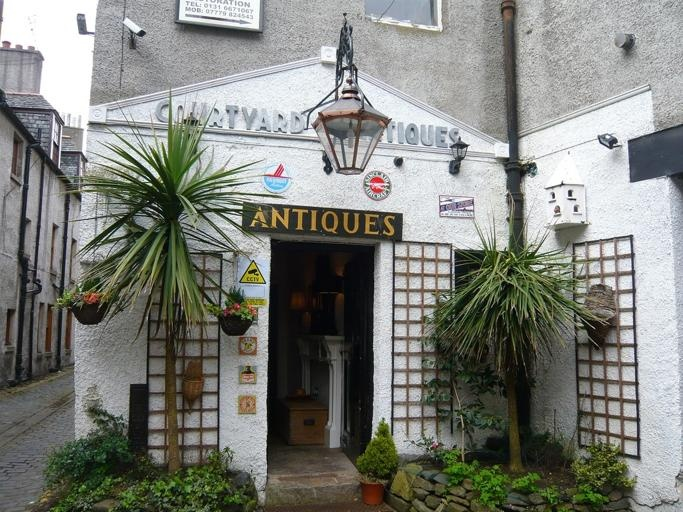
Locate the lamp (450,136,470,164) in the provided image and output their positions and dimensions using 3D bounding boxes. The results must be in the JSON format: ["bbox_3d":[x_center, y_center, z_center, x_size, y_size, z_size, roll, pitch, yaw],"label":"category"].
[{"bbox_3d":[1.570,-1.403,8.094,0.285,0.425,0.271,1,-4,-9],"label":"lamp"}]

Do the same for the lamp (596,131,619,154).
[{"bbox_3d":[3.167,-1.356,7.203,0.146,0.087,0.232,-31,16,3],"label":"lamp"}]

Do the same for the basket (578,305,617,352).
[{"bbox_3d":[2.939,0.830,7.071,0.362,0.488,0.397,5,-11,-23],"label":"basket"}]

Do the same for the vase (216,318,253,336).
[{"bbox_3d":[-1.234,0.793,6.962,0.250,0.144,0.259,-5,-12,22],"label":"vase"}]

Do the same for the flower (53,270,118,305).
[{"bbox_3d":[-2.787,0.405,6.544,0.534,0.258,0.403,-1,-3,-24],"label":"flower"}]

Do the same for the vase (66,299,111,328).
[{"bbox_3d":[-2.772,0.657,6.644,0.344,0.200,0.341,5,-11,-42],"label":"vase"}]

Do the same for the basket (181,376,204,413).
[{"bbox_3d":[-1.744,1.579,7.040,0.283,0.500,0.330,2,-4,-15],"label":"basket"}]

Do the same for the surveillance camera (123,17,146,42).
[{"bbox_3d":[-2.545,-2.778,7.452,0.165,0.318,0.118,-43,-17,-19],"label":"surveillance camera"}]

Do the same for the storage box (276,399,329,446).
[{"bbox_3d":[-0.599,2.606,9.589,0.669,0.640,0.889,2,-11,-9],"label":"storage box"}]

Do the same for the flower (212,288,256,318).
[{"bbox_3d":[-1.240,0.534,6.981,0.351,0.302,0.365,-7,-50,-16],"label":"flower"}]

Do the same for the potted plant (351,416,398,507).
[{"bbox_3d":[0.433,2.452,7.278,0.477,0.988,0.282,0,-10,3],"label":"potted plant"}]
